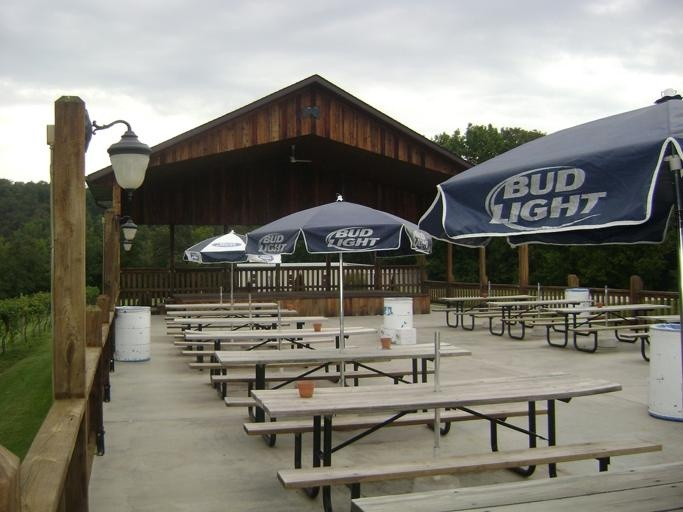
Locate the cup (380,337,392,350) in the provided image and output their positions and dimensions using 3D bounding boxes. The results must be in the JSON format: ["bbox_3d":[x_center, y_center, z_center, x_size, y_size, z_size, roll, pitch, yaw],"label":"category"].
[{"bbox_3d":[0.557,1.098,8.545,0.148,0.131,0.156,3,3,0],"label":"cup"}]

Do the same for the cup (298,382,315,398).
[{"bbox_3d":[-0.342,1.258,6.350,0.154,0.150,0.203,1,-1,-4],"label":"cup"}]

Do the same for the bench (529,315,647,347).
[{"bbox_3d":[5.350,1.676,14.849,1.476,0.368,1.439,0,-3,-25],"label":"bench"}]

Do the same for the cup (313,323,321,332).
[{"bbox_3d":[-0.352,1.043,9.785,0.128,0.101,0.130,-2,2,0],"label":"cup"}]

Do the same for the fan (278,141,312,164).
[{"bbox_3d":[-1.327,-3.104,21.200,0.759,0.432,2.047,1,-1,-3],"label":"fan"}]

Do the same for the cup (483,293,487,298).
[{"bbox_3d":[4.428,1.245,20.959,0.159,0.110,0.089,0,-4,-1],"label":"cup"}]

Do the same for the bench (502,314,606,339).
[{"bbox_3d":[4.776,1.544,14.876,1.604,0.385,1.379,-2,5,-18],"label":"bench"}]

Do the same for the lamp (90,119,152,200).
[{"bbox_3d":[-2.782,-1.261,8.546,0.858,0.847,0.586,2,6,-2],"label":"lamp"}]

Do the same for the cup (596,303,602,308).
[{"bbox_3d":[5.593,1.079,14.673,0.137,0.100,0.097,0,4,7],"label":"cup"}]

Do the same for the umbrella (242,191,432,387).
[{"bbox_3d":[-0.075,0.297,8.896,2.183,1.932,2.187,-1,6,-9],"label":"umbrella"}]

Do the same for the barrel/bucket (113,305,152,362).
[{"bbox_3d":[-3.757,1.413,12.048,0.618,1.012,0.713,2,-1,-15],"label":"barrel/bucket"}]
